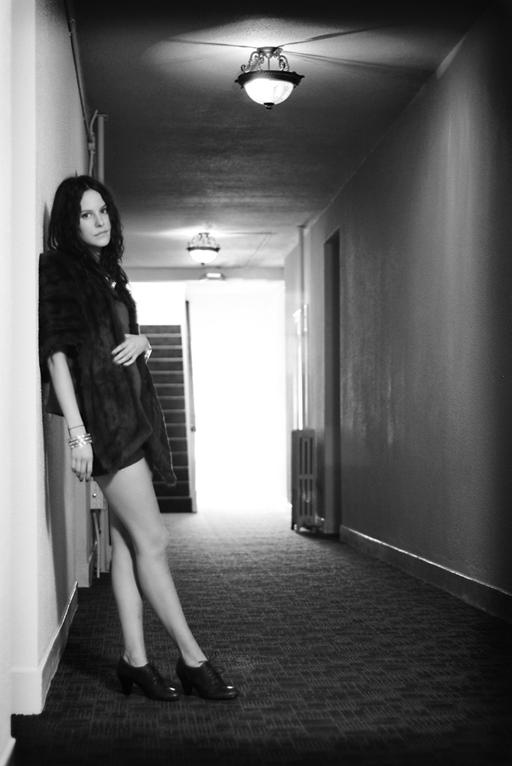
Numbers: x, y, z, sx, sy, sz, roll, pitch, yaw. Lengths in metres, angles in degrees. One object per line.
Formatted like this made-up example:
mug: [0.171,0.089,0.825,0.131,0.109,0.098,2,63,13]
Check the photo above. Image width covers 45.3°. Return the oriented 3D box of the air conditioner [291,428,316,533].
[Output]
air conditioner: [0.540,1.064,6.935,0.272,1.021,0.337,-1,3,5]

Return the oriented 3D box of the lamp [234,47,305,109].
lamp: [0.079,-1.912,3.884,0.388,0.329,0.385,-2,3,2]

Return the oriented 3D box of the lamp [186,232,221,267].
lamp: [-0.764,-1.946,8.864,0.363,0.537,0.425,1,-3,-1]

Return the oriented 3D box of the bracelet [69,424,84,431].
bracelet: [-0.465,0.117,1.592,0.039,0.013,0.024,-4,3,-26]
